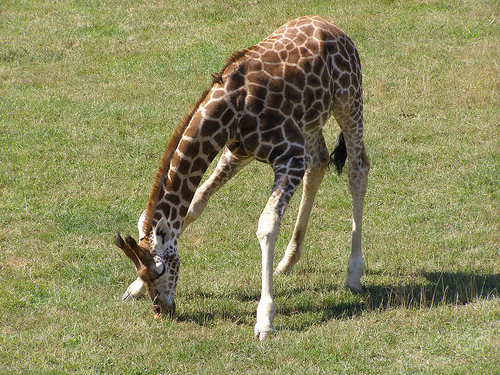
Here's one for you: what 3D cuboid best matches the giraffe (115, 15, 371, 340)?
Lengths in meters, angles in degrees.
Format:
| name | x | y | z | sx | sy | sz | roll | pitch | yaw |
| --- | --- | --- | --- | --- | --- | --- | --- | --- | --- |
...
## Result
| name | x | y | z | sx | sy | sz | roll | pitch | yaw |
| --- | --- | --- | --- | --- | --- | --- | --- | --- | --- |
| giraffe | 0.048 | -0.184 | 20.804 | 6.955 | 5.829 | 2.843 | -14 | 17 | -37 |
